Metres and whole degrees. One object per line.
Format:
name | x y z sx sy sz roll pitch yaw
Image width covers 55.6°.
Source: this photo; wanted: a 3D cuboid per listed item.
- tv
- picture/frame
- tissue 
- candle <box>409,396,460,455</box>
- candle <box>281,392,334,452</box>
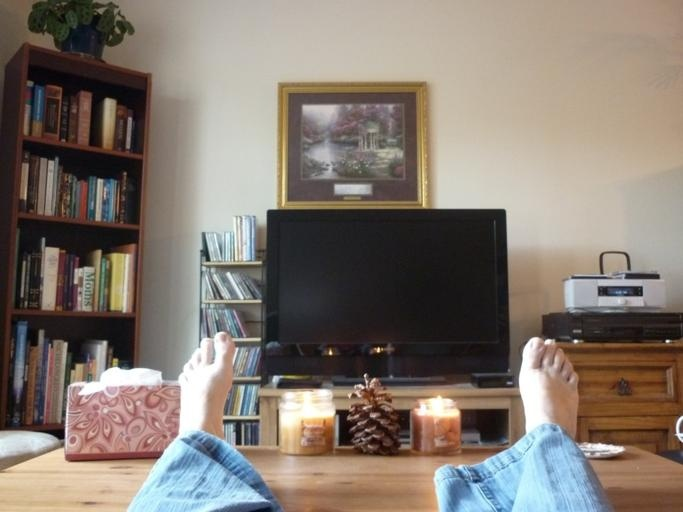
tv | 0.204 0.213 2.863 0.799 0.539 0.208 0 -2 1
picture/frame | 0.044 -0.505 3.127 0.671 0.528 0.053 -1 -2 0
tissue  | -0.566 0.409 1.809 0.367 0.300 0.226 1 -1 -4
candle | 0.258 0.469 1.816 0.149 0.135 0.143 0 -7 -1
candle | -0.093 0.450 1.759 0.158 0.153 0.154 0 -7 0
